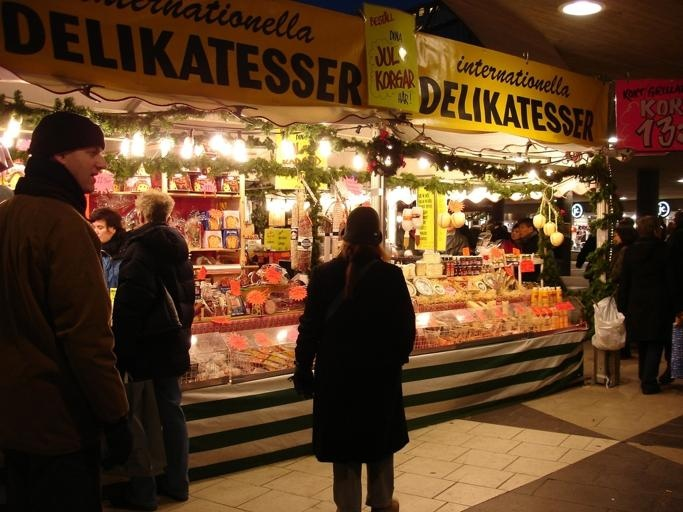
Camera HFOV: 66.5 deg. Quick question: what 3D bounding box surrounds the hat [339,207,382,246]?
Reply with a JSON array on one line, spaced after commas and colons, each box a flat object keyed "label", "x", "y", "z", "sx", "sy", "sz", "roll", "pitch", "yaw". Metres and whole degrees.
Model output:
[{"label": "hat", "x": 0.131, "y": -0.193, "z": 3.145, "sx": 0.204, "sy": 0.191, "sz": 0.242, "roll": 2, "pitch": 13, "yaw": 3}]

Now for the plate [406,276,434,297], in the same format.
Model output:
[{"label": "plate", "x": 0.909, "y": 0.375, "z": 6.025, "sx": 0.245, "sy": 0.251, "sz": 0.058, "roll": 2, "pitch": -42, "yaw": -22}]

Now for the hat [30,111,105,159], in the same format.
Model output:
[{"label": "hat", "x": -1.295, "y": -0.562, "z": 2.492, "sx": 0.201, "sy": 0.173, "sz": 0.280, "roll": -3, "pitch": -2, "yaw": 27}]
